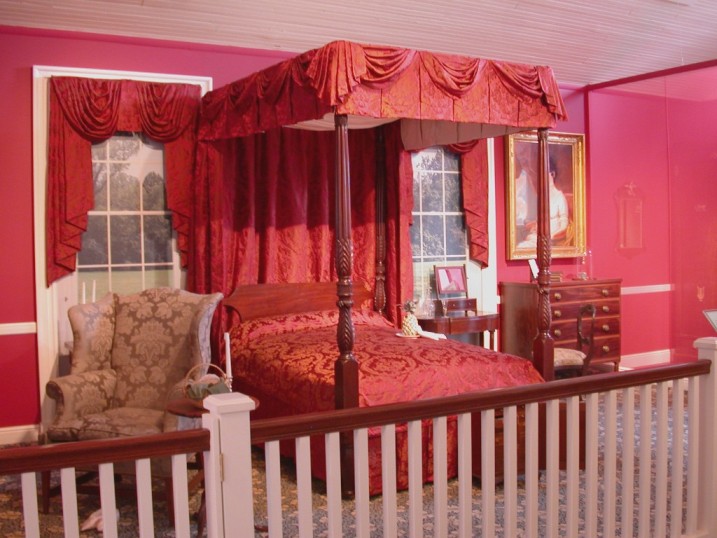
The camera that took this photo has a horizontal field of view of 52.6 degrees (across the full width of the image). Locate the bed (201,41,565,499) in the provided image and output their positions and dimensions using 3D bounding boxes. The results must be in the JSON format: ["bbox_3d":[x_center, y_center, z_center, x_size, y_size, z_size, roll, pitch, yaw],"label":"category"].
[{"bbox_3d":[0.274,-0.041,6.974,2.690,3.650,2.119,-4,3,-28],"label":"bed"}]

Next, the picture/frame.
[{"bbox_3d":[2.302,-0.940,9.035,1.594,2.218,0.163,3,-5,-34],"label":"picture/frame"}]

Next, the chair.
[{"bbox_3d":[-1.856,0.956,6.071,1.399,1.566,1.442,0,-1,20],"label":"chair"}]

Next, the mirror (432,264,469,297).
[{"bbox_3d":[1.111,0.146,8.875,0.360,0.356,0.049,4,-16,-26],"label":"mirror"}]

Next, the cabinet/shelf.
[{"bbox_3d":[2.634,0.769,9.381,1.321,1.271,0.841,-3,0,-26],"label":"cabinet/shelf"}]

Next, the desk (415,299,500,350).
[{"bbox_3d":[1.232,0.769,8.723,0.792,0.582,0.547,-5,13,-8],"label":"desk"}]
